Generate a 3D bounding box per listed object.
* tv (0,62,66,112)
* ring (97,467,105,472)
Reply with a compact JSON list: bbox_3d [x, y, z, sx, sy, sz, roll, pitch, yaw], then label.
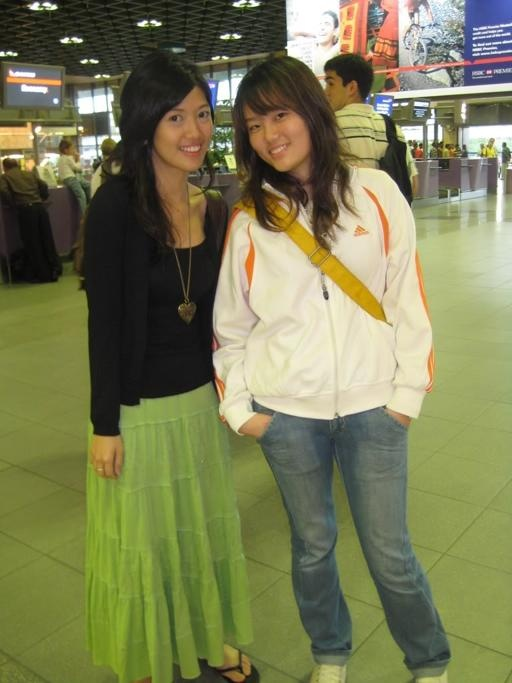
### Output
[{"bbox_3d":[-4.244,-4.885,9.984,0.193,0.943,1.447,13,18,38],"label":"tv"},{"bbox_3d":[-0.289,0.244,0.987,0.016,0.013,0.004,2,12,25],"label":"ring"}]
